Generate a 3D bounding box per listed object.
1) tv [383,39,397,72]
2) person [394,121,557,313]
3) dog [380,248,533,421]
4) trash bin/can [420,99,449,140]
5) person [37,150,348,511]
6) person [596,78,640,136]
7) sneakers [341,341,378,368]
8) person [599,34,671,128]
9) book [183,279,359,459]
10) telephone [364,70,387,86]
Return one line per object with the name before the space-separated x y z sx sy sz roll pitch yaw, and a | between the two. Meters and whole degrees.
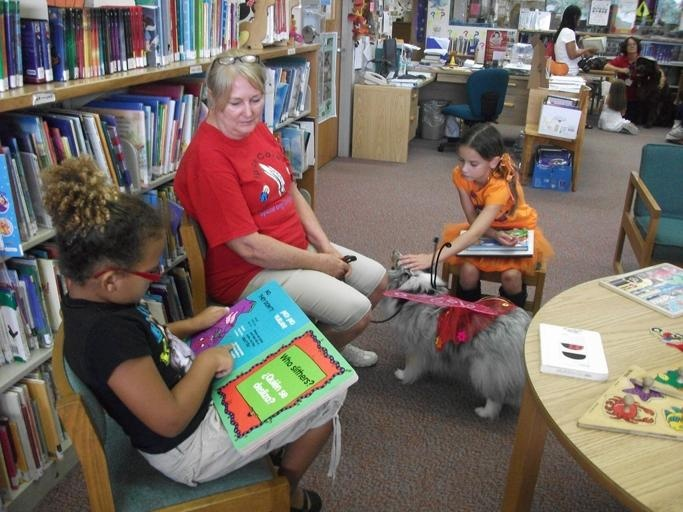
tv | 0.590 -2.444 6.081 0.035 0.389 0.280 7 23 25
person | 0.730 -0.070 2.773 0.850 1.174 0.692 -30 31 -32
dog | 0.539 0.369 2.441 0.350 0.575 0.957 -11 22 -44
trash bin/can | 1.213 -1.852 6.810 0.406 0.495 0.414 0 19 2
person | -0.477 0.250 1.573 0.637 1.254 0.551 -26 48 -23
person | 4.248 -2.255 7.537 0.539 0.778 0.510 8 22 23
sneakers | 0.081 0.495 2.638 0.248 0.172 0.095 -4 29 -1
person | 4.829 -2.775 8.088 1.037 1.470 0.737 -9 11 -18
book | -0.189 0.347 1.466 0.392 0.040 0.492 -32 49 -13
telephone | 0.402 -2.028 5.742 0.211 0.084 0.168 13 36 10
